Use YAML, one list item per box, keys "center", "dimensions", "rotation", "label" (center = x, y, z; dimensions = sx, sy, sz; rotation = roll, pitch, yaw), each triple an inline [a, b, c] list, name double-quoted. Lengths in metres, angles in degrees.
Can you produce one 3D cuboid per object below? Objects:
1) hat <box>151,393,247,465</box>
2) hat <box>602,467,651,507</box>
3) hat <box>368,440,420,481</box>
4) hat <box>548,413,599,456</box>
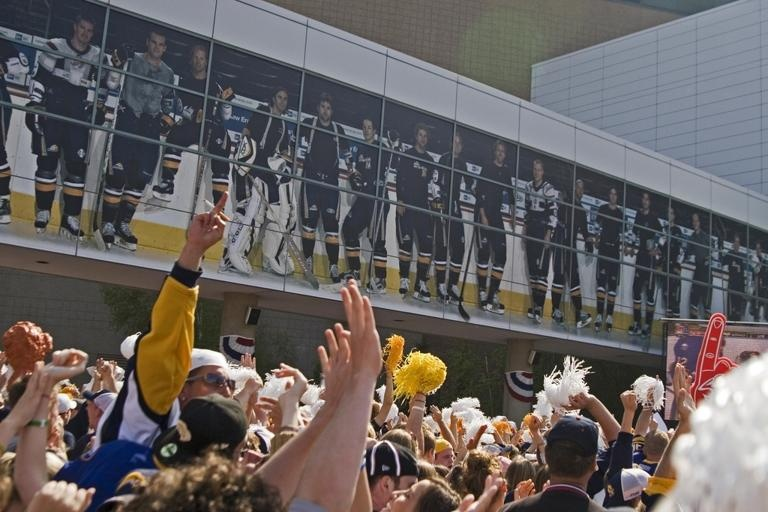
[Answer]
- center: [-2.641, 2.555, 13.910]
  dimensions: [1.240, 0.665, 0.848]
  rotation: [-8, 42, -9]
  label: "hat"
- center: [3.861, 3.710, 15.251]
  dimensions: [0.642, 0.620, 0.524]
  rotation: [1, 0, 7]
  label: "hat"
- center: [0.138, 3.147, 14.640]
  dimensions: [0.796, 0.521, 0.232]
  rotation: [5, 13, -5]
  label: "hat"
- center: [2.906, 2.742, 14.750]
  dimensions: [0.765, 0.454, 0.455]
  rotation: [8, 14, 8]
  label: "hat"
